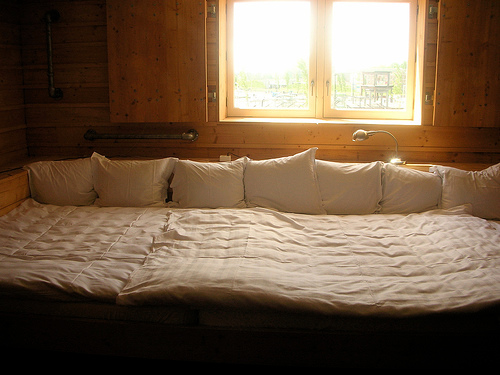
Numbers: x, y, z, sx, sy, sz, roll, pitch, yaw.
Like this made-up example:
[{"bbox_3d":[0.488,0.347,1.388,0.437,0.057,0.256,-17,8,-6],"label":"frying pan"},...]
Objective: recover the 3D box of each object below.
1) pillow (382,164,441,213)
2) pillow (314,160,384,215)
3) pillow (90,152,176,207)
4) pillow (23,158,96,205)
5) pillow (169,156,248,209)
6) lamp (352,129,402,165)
[{"bbox_3d":[1.376,0.019,3.279,0.469,0.372,0.216,8,-3,7],"label":"pillow"},{"bbox_3d":[0.864,0.019,3.301,0.598,0.371,0.185,1,-1,2],"label":"pillow"},{"bbox_3d":[-1.082,-0.062,3.558,0.936,0.482,0.271,3,5,14],"label":"pillow"},{"bbox_3d":[-1.740,-0.035,3.479,0.490,0.276,0.158,-3,-20,2],"label":"pillow"},{"bbox_3d":[-0.382,-0.036,3.471,0.729,0.392,0.238,2,7,-22],"label":"pillow"},{"bbox_3d":[1.255,-0.399,3.701,0.486,0.340,0.504,2,13,17],"label":"lamp"}]
